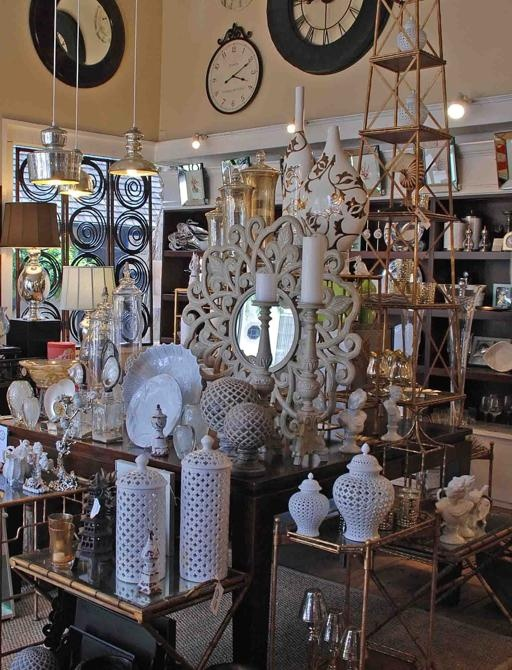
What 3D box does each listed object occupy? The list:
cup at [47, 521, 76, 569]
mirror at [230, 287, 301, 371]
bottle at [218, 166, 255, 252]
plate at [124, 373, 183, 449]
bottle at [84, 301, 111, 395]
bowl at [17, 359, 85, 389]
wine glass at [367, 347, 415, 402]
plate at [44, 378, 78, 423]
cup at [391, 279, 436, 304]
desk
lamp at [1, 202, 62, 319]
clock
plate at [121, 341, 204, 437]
[{"bbox_3d":[-0.401,0.438,1.237,0.057,0.084,0.057,0,-1,0],"label":"cup"},{"bbox_3d":[0.038,-0.016,1.724,0.254,0.253,0.015,3,0,43],"label":"mirror"},{"bbox_3d":[-0.076,-0.447,2.002,0.140,0.239,0.123,1,2,21],"label":"bottle"},{"bbox_3d":[-0.281,0.218,1.754,0.195,0.197,0.040,-14,-32,34],"label":"plate"},{"bbox_3d":[-0.517,0.029,1.943,0.082,0.295,0.247,0,2,-15],"label":"bottle"},{"bbox_3d":[-0.895,0.154,2.527,0.258,0.097,0.254,0,-1,0],"label":"bowl"},{"bbox_3d":[0.462,0.149,2.094,0.179,0.176,0.148,0,2,5],"label":"wine glass"},{"bbox_3d":[-0.695,0.223,2.060,0.158,0.157,0.043,-39,-37,24],"label":"plate"},{"bbox_3d":[0.622,-0.151,2.294,0.171,0.070,0.128,2,-1,-21],"label":"cup"},{"bbox_3d":[0.014,0.508,2.171,1.173,0.439,1.333,3,3,43],"label":"desk"},{"bbox_3d":[-1.818,-0.609,4.749,0.427,0.962,0.469,-1,2,-25],"label":"lamp"},{"bbox_3d":[-0.203,-2.557,5.655,0.659,0.858,0.054,2,3,38],"label":"clock"},{"bbox_3d":[-0.265,0.184,1.816,0.223,0.283,0.066,8,-12,36],"label":"plate"}]
